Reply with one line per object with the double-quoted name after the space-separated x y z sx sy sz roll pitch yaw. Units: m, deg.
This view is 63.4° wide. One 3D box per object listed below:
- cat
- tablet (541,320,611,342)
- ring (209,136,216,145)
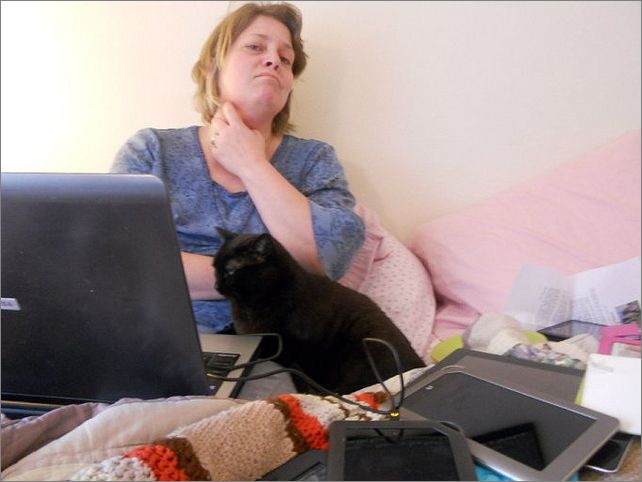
0.013 0.195 1.263 0.576 0.251 0.185 22 0 8 "cat"
0.667 0.237 1.380 0.150 0.030 0.133 8 18 25 "tablet"
-0.310 -0.287 1.486 0.020 0.023 0.008 0 1 23 "ring"
